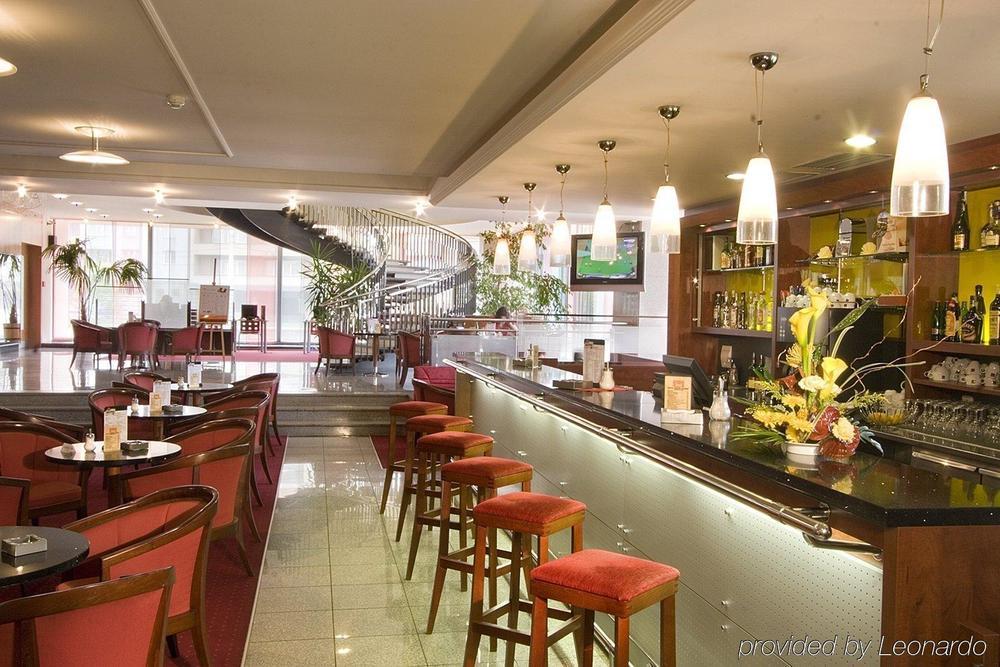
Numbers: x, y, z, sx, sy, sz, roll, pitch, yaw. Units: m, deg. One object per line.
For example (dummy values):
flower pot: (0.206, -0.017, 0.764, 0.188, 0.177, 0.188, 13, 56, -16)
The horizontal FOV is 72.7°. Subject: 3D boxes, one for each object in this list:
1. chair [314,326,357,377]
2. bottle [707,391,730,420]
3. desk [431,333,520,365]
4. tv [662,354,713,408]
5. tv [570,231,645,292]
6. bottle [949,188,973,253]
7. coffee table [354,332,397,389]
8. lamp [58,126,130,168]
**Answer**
chair: (-3.182, 0.345, 13.103, 0.721, 0.785, 0.750, 3, -6, -19)
bottle: (1.301, 0.433, 4.014, 0.118, 0.159, 0.178, 6, 6, 17)
desk: (-0.481, 0.283, 12.089, 1.763, 0.493, 1.516, 1, -1, -5)
tv: (1.162, 0.316, 4.316, 0.386, 0.311, 0.347, 7, 6, 30)
tv: (1.618, -1.032, 10.004, 1.262, 0.852, 0.118, 1, 4, 8)
bottle: (3.709, -0.900, 5.446, 0.143, 0.497, 0.164, 8, 7, 31)
coffee table: (-2.440, 0.546, 13.895, 1.176, 1.081, 1.110, 2, 4, 6)
lamp: (-5.151, -2.386, 8.633, 0.624, 0.271, 0.619, 5, 6, 32)
